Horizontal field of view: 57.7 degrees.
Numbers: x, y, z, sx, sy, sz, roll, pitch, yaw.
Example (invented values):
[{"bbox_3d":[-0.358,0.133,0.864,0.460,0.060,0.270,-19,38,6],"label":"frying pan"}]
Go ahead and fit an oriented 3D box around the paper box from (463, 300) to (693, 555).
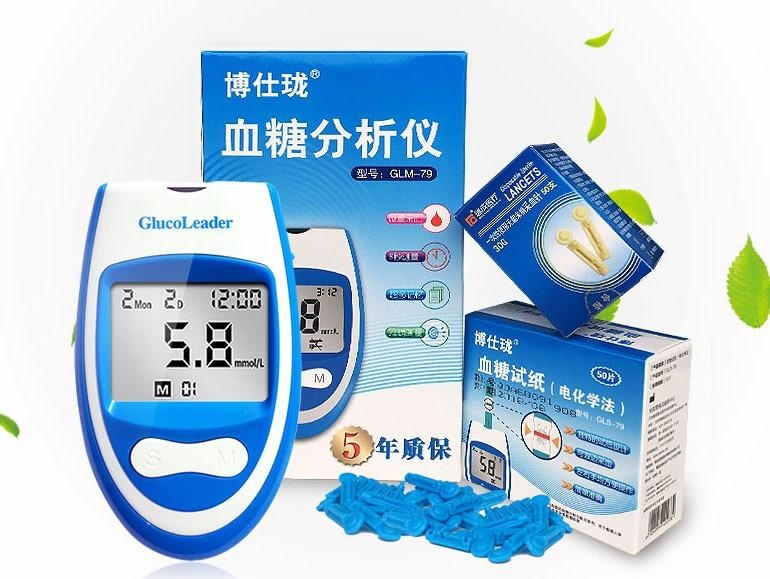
[{"bbox_3d":[0.534,0.396,1.912,0.574,0.526,0.211,14,15,39],"label":"paper box"}]
